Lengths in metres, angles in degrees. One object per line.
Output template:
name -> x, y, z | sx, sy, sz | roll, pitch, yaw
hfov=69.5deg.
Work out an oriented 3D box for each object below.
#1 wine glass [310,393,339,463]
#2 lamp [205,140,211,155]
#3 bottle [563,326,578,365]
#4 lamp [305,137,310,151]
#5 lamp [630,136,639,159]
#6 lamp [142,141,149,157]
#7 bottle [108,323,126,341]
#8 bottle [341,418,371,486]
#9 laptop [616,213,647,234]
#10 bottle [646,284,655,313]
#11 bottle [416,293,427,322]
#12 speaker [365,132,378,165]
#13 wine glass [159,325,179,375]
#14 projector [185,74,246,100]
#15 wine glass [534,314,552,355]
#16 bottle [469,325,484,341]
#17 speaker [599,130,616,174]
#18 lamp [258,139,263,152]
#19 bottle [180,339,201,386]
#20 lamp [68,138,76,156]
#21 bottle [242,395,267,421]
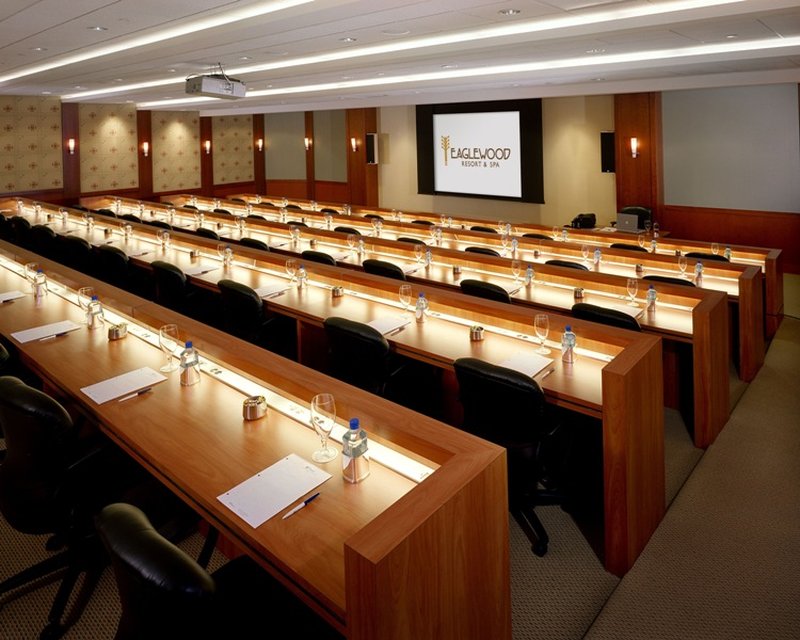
wine glass -> -0.326, 0.432, 2.447 | 0.103, 0.255, 0.238 | -3, 16, -5
lamp -> -5.031, -4.497, 15.032 | 0.082, 0.353, 0.200 | 12, 20, 39
bottle -> 1.002, 0.126, 3.402 | 0.077, 0.191, 0.232 | 4, 17, 17
lamp -> -2.407, -4.612, 15.040 | 0.201, 0.294, 0.050 | 8, 18, 30
lamp -> 3.801, -2.783, 9.304 | 0.157, 0.340, 0.060 | 6, 17, 23
lamp -> -6.194, -4.140, 13.968 | 0.185, 0.365, 0.095 | -9, 17, -25
bottle -> -1.821, 0.082, 3.714 | 0.077, 0.083, 0.114 | 4, 6, 23
bottle -> -0.180, 0.505, 2.281 | 0.105, 0.249, 0.110 | -1, 20, 0
laptop -> 3.517, -1.526, 8.759 | 0.265, 0.281, 0.373 | -10, 15, -40
bottle -> 1.887, -0.166, 4.314 | 0.059, 0.160, 0.161 | 5, 18, 22
bottle -> 0.154, -0.111, 4.166 | 0.087, 0.184, 0.260 | -1, 17, 2
speaker -> -0.654, -3.908, 13.099 | 0.215, 0.633, 0.601 | -5, 17, -14
wine glass -> -1.324, 0.155, 3.314 | 0.119, 0.296, 0.117 | 10, 21, -1
projector -> -2.348, -2.989, 7.337 | 0.349, 0.286, 0.692 | 14, 23, 41
wine glass -> 0.879, 0.053, 3.542 | 0.088, 0.252, 0.317 | 2, 17, 13
bottle -> 0.493, 0.091, 3.705 | 0.065, 0.072, 0.091 | -1, 2, 4
speaker -> 3.560, -2.870, 9.855 | 0.220, 0.658, 0.515 | 2, 17, 13
lamp -> -3.840, -4.801, 15.795 | 0.180, 0.309, 0.076 | -14, 20, -38
bottle -> -1.134, 0.209, 3.081 | 0.099, 0.206, 0.256 | -5, 17, -14
lamp -> -7.298, -3.838, 12.774 | 0.172, 0.335, 0.082 | -14, 20, -37
bottle -> -0.684, 0.410, 2.703 | 0.073, 0.074, 0.109 | 2, 5, 12
